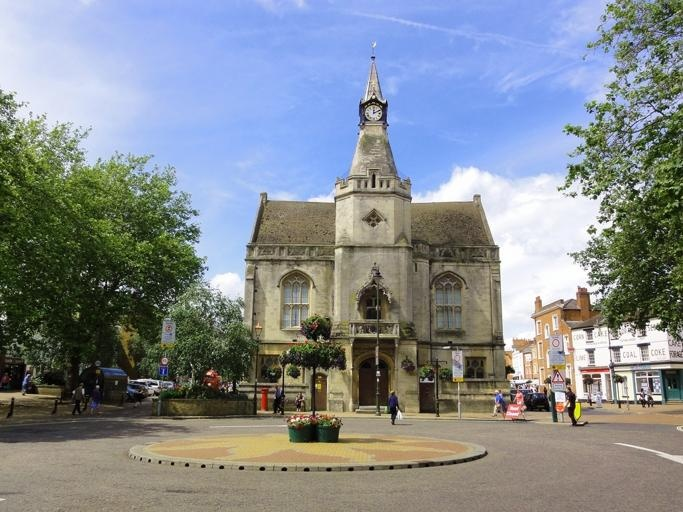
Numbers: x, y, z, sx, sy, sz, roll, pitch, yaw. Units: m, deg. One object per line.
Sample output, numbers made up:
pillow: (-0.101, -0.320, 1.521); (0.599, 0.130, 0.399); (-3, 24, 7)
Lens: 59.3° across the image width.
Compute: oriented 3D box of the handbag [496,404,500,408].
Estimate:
handbag: (11.029, 10.586, 42.271); (0.307, 0.187, 0.304); (12, -23, -40)

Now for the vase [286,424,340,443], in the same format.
vase: (-1.053, 6.895, 23.243); (1.878, 0.667, 0.576); (3, -16, -14)

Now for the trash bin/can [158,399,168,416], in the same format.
trash bin/can: (-10.651, 9.016, 35.721); (0.458, 0.978, 0.791); (-1, -15, 0)

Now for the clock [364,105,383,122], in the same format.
clock: (2.750, -11.920, 50.381); (1.497, 1.387, 0.073); (4, -7, 3)

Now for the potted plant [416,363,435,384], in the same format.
potted plant: (6.615, 9.064, 46.185); (1.233, 1.256, 1.718); (-3, -15, 8)

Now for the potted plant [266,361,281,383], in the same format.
potted plant: (-5.623, 8.936, 46.958); (1.821, 1.755, 1.370); (2, -22, -3)

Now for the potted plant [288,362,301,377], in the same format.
potted plant: (-3.421, 8.306, 43.472); (0.834, 0.810, 0.970); (2, -15, -11)

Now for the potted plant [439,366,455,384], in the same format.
potted plant: (8.123, 9.190, 46.435); (1.067, 1.015, 0.958); (10, -20, -21)
